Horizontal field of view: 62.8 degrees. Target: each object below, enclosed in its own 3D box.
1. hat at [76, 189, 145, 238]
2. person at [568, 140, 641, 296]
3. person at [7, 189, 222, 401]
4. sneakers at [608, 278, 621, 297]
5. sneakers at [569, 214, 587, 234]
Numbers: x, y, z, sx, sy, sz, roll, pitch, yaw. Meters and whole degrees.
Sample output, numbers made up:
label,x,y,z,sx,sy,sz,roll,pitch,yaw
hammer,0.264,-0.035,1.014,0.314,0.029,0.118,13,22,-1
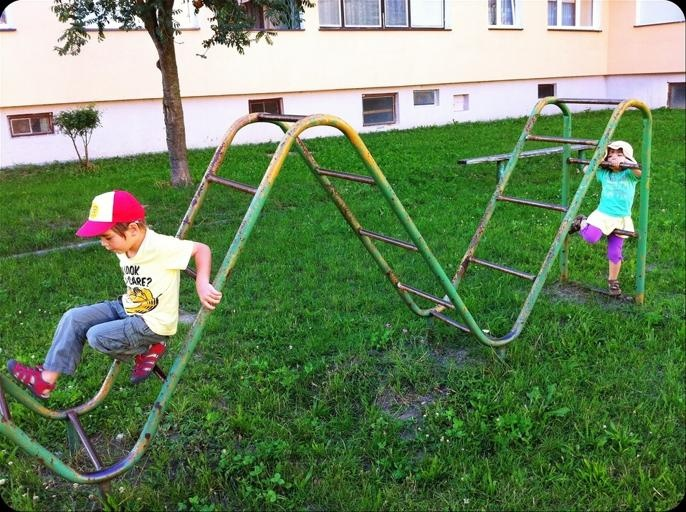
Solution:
label,x,y,z,sx,sy,sz,roll,pitch,yaw
hat,-1.375,-0.265,3.323,0.407,0.226,0.272,-14,19,-22
person,2.386,-0.359,5.099,0.528,1.286,0.619,6,19,29
person,-1.270,0.154,3.577,1.382,1.508,0.940,0,12,-28
sneakers,2.412,0.283,4.975,0.071,0.090,0.204,-3,8,11
sneakers,2.069,-0.283,4.943,0.081,0.174,0.104,12,23,-48
